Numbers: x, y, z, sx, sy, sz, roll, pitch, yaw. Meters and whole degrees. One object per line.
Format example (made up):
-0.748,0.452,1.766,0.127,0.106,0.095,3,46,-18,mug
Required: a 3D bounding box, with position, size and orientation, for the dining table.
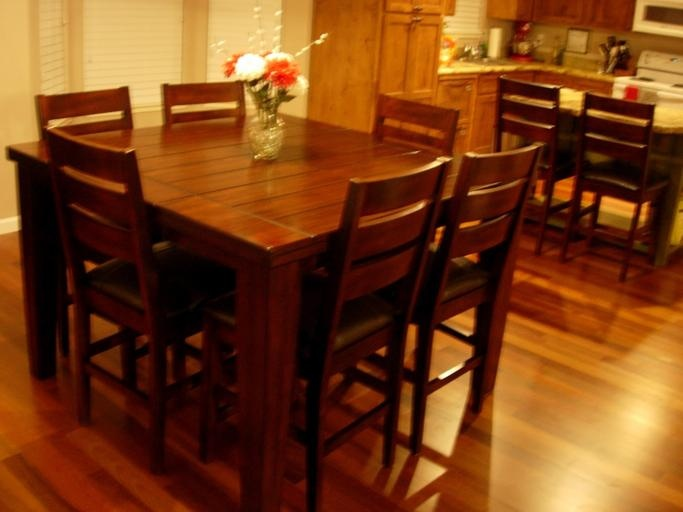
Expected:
-0.502,0.182,2.382,1.631,1.203,1.538,-11,27,-40,dining table
